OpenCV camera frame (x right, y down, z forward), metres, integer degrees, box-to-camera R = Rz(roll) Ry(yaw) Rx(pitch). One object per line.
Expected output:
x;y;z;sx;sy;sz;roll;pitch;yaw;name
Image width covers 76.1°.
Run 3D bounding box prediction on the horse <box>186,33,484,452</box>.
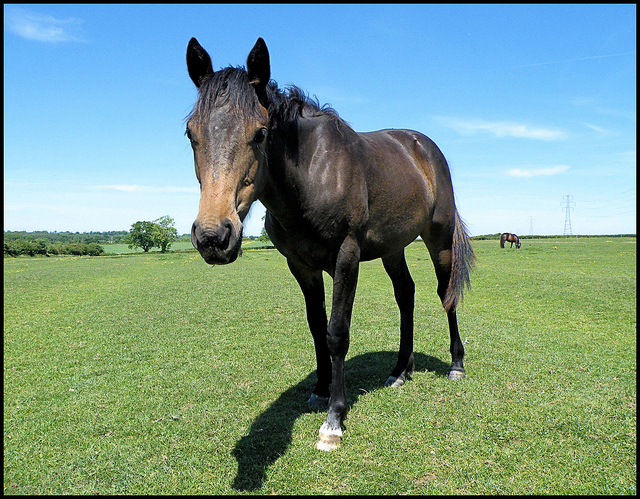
0.667;-0.095;6.447;1.493;4.726;5.868;2;7;44;horse
